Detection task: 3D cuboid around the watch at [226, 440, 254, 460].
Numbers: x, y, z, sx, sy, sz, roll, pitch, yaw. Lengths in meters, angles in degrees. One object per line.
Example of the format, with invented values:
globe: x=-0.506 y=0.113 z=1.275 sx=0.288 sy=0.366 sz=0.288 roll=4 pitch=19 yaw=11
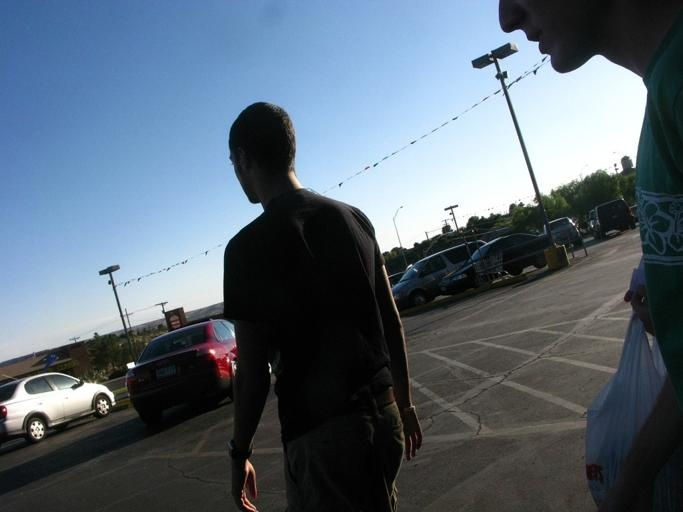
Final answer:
watch: x=-0.400 y=0.779 z=1.720 sx=0.093 sy=0.088 sz=0.051 roll=7 pitch=-35 yaw=-11
